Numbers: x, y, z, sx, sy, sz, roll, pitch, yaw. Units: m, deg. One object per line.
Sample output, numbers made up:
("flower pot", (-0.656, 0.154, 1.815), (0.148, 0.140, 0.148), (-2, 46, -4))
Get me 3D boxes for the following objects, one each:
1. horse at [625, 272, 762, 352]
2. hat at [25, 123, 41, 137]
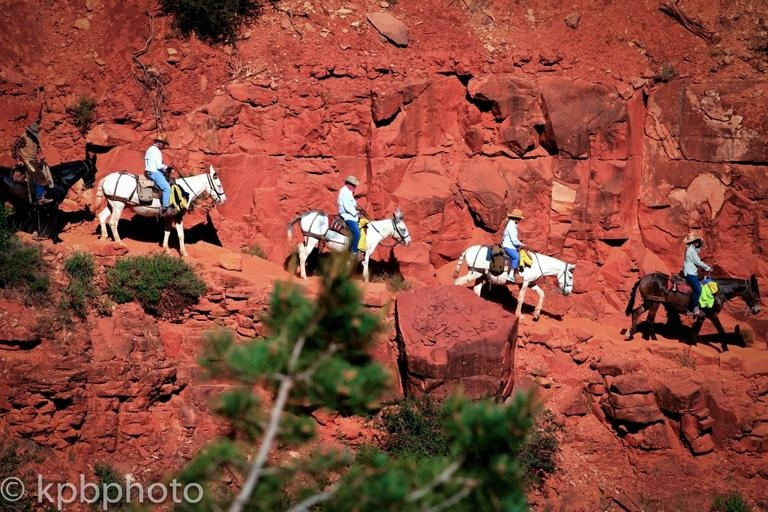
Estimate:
("horse", (10.596, 2.095, 33.853), (4.159, 3.572, 2.211), (6, 61, -11))
("hat", (-11.615, -4.124, 30.965), (0.246, 0.479, 0.452), (-24, 71, 15))
